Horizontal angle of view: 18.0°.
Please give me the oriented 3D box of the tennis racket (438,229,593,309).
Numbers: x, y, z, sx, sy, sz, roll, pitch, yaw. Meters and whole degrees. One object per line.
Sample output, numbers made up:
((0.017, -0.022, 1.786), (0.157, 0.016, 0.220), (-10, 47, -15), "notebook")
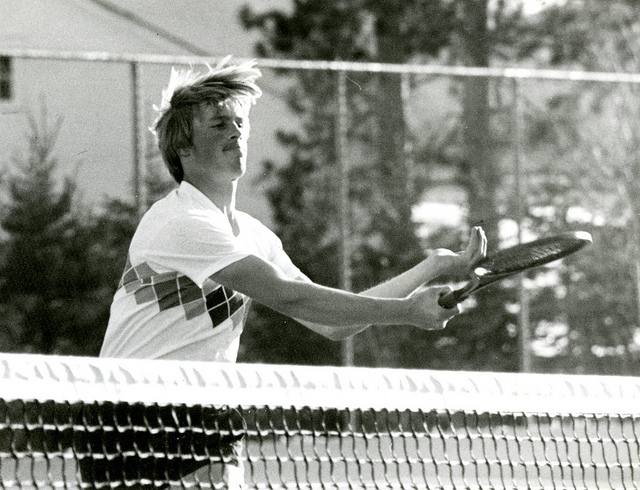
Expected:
((1.165, 0.165, 12.723), (1.032, 0.174, 0.234), (-20, 32, -1), "tennis racket")
